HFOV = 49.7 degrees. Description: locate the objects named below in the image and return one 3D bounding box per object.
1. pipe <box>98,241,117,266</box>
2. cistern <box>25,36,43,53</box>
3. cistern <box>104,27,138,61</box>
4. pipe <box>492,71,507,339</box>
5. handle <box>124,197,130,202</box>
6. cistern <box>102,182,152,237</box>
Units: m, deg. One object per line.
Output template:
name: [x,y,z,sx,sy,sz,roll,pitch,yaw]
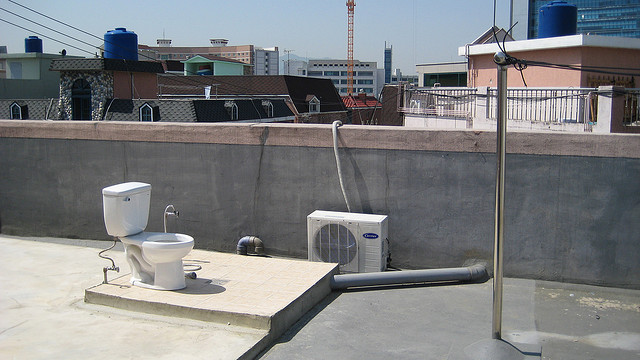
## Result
pipe: [-6.538,2.297,21.341,0.479,0.765,0.076,-20,-35,-1]
cistern: [-23.223,-11.046,56.138,1.164,1.273,0.875,-3,7,-13]
cistern: [-11.868,-8.041,41.574,2.085,2.090,1.967,2,7,-2]
pipe: [4.372,0.569,16.986,0.610,5.241,0.804,1,-1,3]
handle: [-5.342,0.530,19.110,0.118,0.118,0.142,-6,0,-15]
cistern: [-5.378,0.817,19.344,1.017,1.395,1.679,6,9,32]
